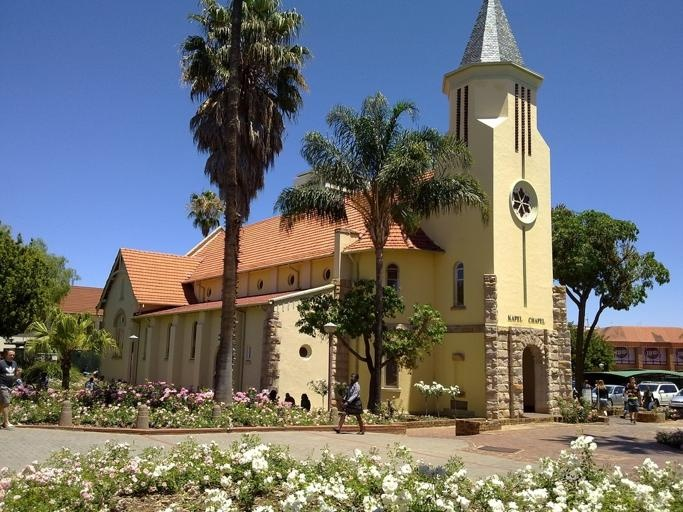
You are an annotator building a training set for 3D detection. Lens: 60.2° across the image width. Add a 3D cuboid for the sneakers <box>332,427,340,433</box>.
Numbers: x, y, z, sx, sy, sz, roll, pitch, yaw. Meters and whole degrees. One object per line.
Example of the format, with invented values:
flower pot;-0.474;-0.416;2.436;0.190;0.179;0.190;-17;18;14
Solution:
sneakers;-0.184;6.086;20.556;0.174;0.265;0.623;1;-11;-7
